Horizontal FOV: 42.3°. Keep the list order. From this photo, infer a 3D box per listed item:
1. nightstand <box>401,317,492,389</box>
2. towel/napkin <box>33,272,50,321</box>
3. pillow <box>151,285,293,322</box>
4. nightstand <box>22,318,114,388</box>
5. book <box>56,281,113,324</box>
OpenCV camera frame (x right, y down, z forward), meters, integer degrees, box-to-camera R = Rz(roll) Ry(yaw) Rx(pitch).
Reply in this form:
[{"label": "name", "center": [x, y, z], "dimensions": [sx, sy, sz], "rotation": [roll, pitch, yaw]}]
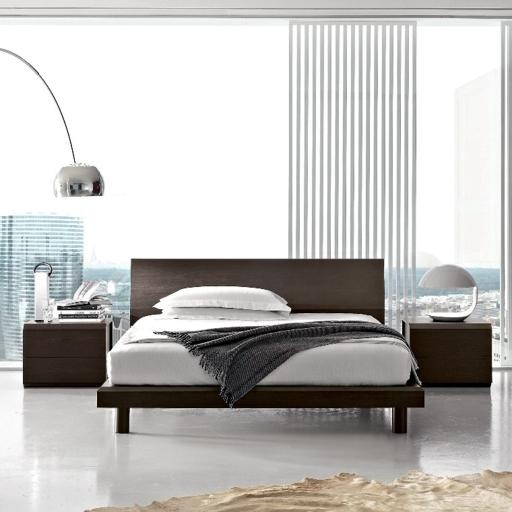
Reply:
[{"label": "nightstand", "center": [1.384, 0.696, 4.825], "dimensions": [0.532, 0.293, 0.523], "rotation": [-1, -1, 3]}, {"label": "towel/napkin", "center": [-1.591, 0.293, 4.866], "dimensions": [0.104, 0.351, 0.129], "rotation": [-2, 5, -17]}, {"label": "pillow", "center": [-0.226, 0.335, 4.646], "dimensions": [0.909, 0.175, 0.354], "rotation": [0, 4, 4]}, {"label": "nightstand", "center": [-1.375, 0.709, 4.877], "dimensions": [0.543, 0.349, 0.500], "rotation": [0, -3, -4]}, {"label": "book", "center": [-1.298, 0.356, 4.956], "dimensions": [0.350, 0.168, 0.421], "rotation": [0, -3, -6]}]
